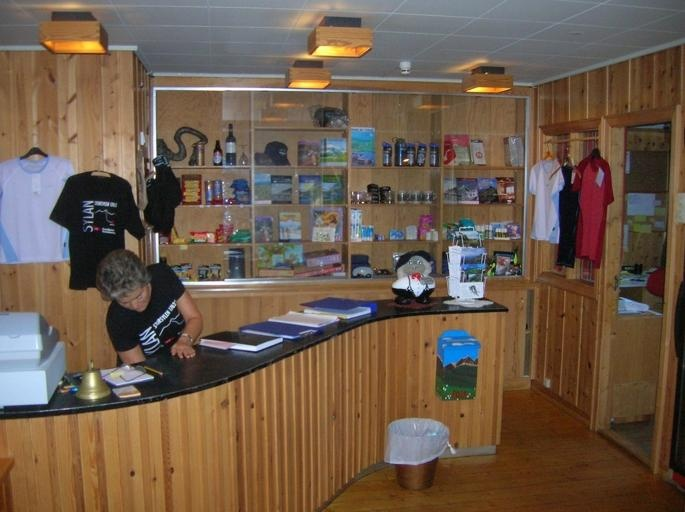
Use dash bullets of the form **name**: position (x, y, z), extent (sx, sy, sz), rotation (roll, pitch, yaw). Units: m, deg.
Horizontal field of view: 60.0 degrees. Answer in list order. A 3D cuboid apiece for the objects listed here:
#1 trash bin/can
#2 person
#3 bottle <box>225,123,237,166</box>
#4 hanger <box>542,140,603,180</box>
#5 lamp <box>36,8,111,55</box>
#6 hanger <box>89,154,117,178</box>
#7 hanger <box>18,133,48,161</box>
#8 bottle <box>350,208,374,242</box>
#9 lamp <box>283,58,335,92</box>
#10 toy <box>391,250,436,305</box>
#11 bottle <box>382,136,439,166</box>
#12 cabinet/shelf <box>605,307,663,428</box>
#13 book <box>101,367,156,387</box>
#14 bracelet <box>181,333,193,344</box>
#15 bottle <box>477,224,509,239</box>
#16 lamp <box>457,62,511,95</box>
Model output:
- **trash bin/can**: position (0.577, 1.544, 4.636), extent (0.490, 0.485, 0.324), rotation (-1, 8, 3)
- **person**: position (-1.217, 0.310, 3.813), extent (0.587, 0.747, 0.590), rotation (-4, 8, -14)
- **bottle**: position (-1.151, -1.144, 6.096), extent (0.124, 0.430, 0.038), rotation (-3, 8, -9)
- **hanger**: position (2.292, -0.944, 5.871), extent (0.511, 0.506, 0.068), rotation (10, 17, 38)
- **lamp**: position (-2.023, -1.577, 4.311), extent (0.291, 0.129, 0.295), rotation (-15, 27, 9)
- **hanger**: position (-2.075, -0.788, 5.139), extent (0.216, 0.200, 0.049), rotation (12, 11, -7)
- **hanger**: position (-2.640, -0.932, 5.040), extent (0.270, 0.188, 0.015), rotation (0, -1, -26)
- **bottle**: position (0.217, -0.343, 6.408), extent (0.277, 0.358, 0.067), rotation (-3, 8, -6)
- **lamp**: position (-0.321, -1.687, 5.458), extent (0.387, 0.246, 0.243), rotation (-3, 7, -7)
- **toy**: position (0.585, 0.164, 4.898), extent (0.367, 0.440, 0.242), rotation (-1, -1, -10)
- **bottle**: position (0.740, -1.115, 6.403), extent (0.631, 0.307, 0.055), rotation (-3, 8, -8)
- **cabinet/shelf**: position (2.778, 1.068, 5.601), extent (0.541, 1.023, 0.135), rotation (-4, 8, -18)
- **book**: position (-1.228, 0.675, 3.370), extent (0.148, 0.028, 0.145), rotation (-4, 10, -42)
- **bracelet**: position (-1.014, 0.530, 3.881), extent (0.028, 0.071, 0.059), rotation (-39, -22, 26)
- **bottle**: position (1.707, -0.282, 6.765), extent (0.326, 0.166, 0.306), rotation (1, 1, 0)
- **lamp**: position (1.382, -1.676, 5.734), extent (0.334, 0.184, 0.310), rotation (0, 2, -13)
